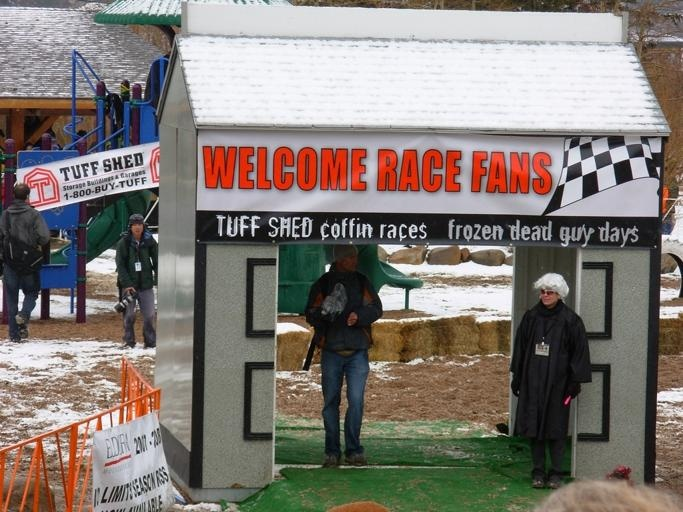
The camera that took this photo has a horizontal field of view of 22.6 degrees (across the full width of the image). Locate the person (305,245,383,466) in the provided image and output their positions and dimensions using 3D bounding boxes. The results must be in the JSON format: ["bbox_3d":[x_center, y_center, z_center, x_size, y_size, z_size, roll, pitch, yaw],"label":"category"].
[{"bbox_3d":[0.026,1.092,19.031,0.842,2.414,0.410,0,1,-2],"label":"person"}]

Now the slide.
[{"bbox_3d":[-3.934,-0.396,26.793,2.086,0.981,0.608,-15,-2,-7],"label":"slide"}]

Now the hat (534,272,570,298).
[{"bbox_3d":[2.306,0.316,18.589,0.311,0.148,0.269,10,-3,26],"label":"hat"}]

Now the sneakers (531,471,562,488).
[{"bbox_3d":[2.235,2.412,18.460,0.327,0.156,0.250,0,1,12],"label":"sneakers"}]

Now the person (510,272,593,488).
[{"bbox_3d":[2.283,1.341,18.519,0.881,2.283,0.438,0,1,8],"label":"person"}]

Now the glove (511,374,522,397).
[{"bbox_3d":[1.922,1.407,18.718,0.066,0.198,0.143,-3,17,-4],"label":"glove"}]

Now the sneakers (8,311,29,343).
[{"bbox_3d":[-4.606,0.986,24.070,0.249,0.398,0.177,5,-3,-42],"label":"sneakers"}]

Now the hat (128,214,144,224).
[{"bbox_3d":[-2.859,-0.514,23.644,0.139,0.099,0.181,0,-6,-6],"label":"hat"}]

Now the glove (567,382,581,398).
[{"bbox_3d":[2.514,1.431,18.374,0.126,0.169,0.053,11,-1,33],"label":"glove"}]

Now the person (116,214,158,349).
[{"bbox_3d":[-2.875,0.353,23.717,0.552,1.839,0.771,0,1,-8],"label":"person"}]
